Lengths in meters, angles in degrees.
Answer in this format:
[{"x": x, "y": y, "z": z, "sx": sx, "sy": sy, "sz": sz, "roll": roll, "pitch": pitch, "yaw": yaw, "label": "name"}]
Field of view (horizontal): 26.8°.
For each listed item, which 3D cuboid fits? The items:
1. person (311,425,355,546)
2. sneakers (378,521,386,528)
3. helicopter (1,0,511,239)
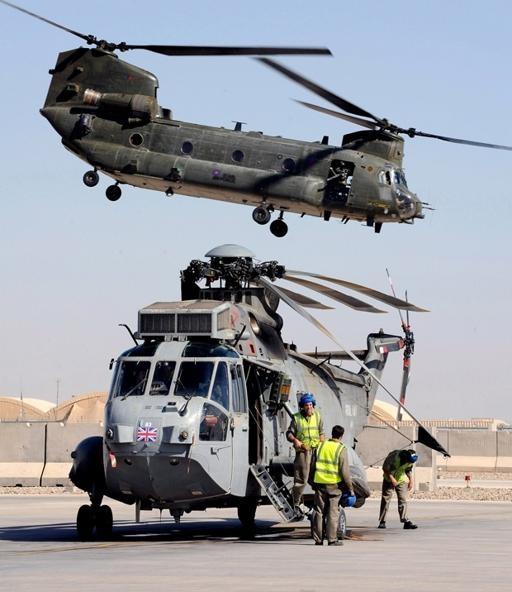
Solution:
[{"x": 1.072, "y": 2.714, "z": 15.479, "sx": 0.621, "sy": 1.680, "sz": 0.711, "roll": 2, "pitch": -11, "yaw": 2, "label": "person"}, {"x": 2.165, "y": 3.944, "z": 18.594, "sx": 0.128, "sy": 0.141, "sz": 0.167, "roll": 2, "pitch": -10, "yaw": -4, "label": "sneakers"}, {"x": -1.098, "y": -3.683, "z": 26.074, "sx": 10.354, "sy": 2.609, "sz": 7.413, "roll": 9, "pitch": 3, "yaw": 5, "label": "helicopter"}]
